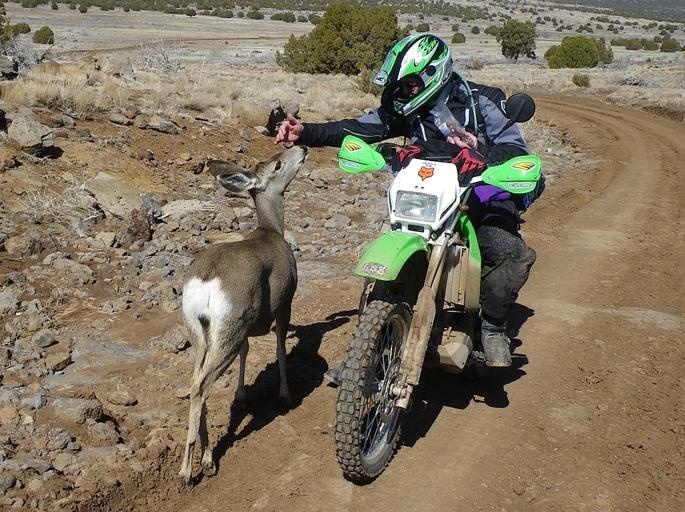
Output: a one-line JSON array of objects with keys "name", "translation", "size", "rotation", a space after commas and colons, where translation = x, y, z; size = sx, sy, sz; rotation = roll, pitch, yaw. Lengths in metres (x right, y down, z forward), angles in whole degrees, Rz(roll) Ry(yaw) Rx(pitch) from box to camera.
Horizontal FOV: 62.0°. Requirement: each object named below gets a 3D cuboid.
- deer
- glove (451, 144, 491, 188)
[{"name": "deer", "translation": [-1.241, 0.468, 6.895], "size": [1.209, 3.006, 3.663], "rotation": [3, 19, 9]}, {"name": "glove", "translation": [1.309, -0.871, 5.886], "size": [0.384, 0.388, 0.169], "rotation": [40, 2, 29]}]
